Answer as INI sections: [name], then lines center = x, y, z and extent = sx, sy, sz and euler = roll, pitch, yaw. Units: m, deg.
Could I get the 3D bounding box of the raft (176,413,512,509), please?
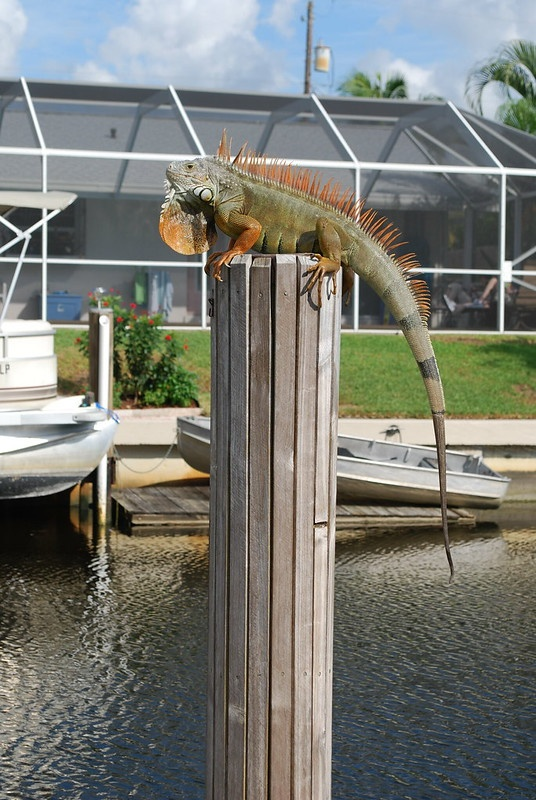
[raft]
center = 0.913, 0.912, 15.014
extent = 4.024, 0.891, 1.564
euler = 9, 4, 0

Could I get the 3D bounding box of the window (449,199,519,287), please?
[window]
center = 4.201, -3.235, 25.101
extent = 0.957, 1.667, 0.972
euler = -10, 11, -29
